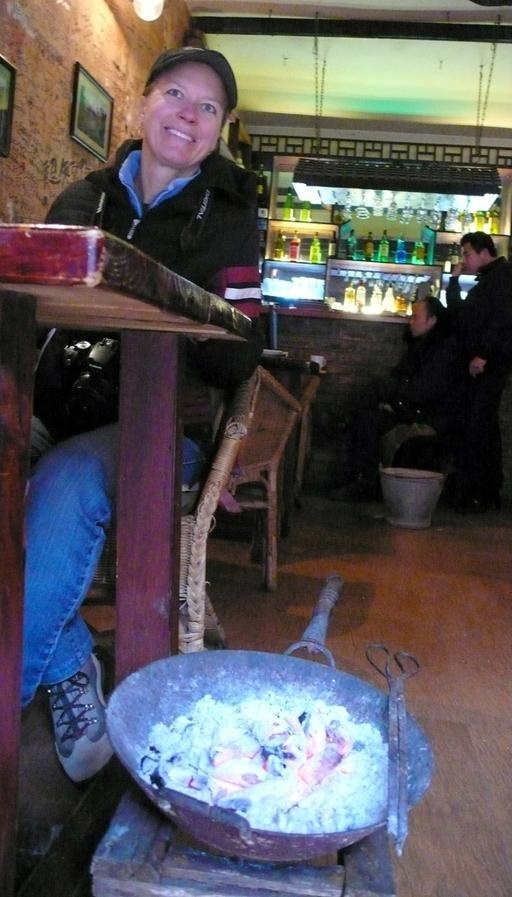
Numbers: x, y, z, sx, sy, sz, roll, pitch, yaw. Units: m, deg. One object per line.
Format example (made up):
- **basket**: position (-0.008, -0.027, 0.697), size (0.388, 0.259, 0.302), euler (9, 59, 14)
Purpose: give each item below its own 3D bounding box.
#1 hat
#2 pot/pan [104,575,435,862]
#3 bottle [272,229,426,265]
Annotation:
- **hat**: position (-0.107, -0.750, 1.296), size (0.176, 0.108, 0.231), euler (4, 7, -6)
- **pot/pan**: position (0.028, 0.173, 0.747), size (0.413, 0.255, 0.404), euler (1, 10, -12)
- **bottle**: position (0.888, -2.042, 6.539), size (1.719, 0.326, 0.372), euler (1, 9, -4)
